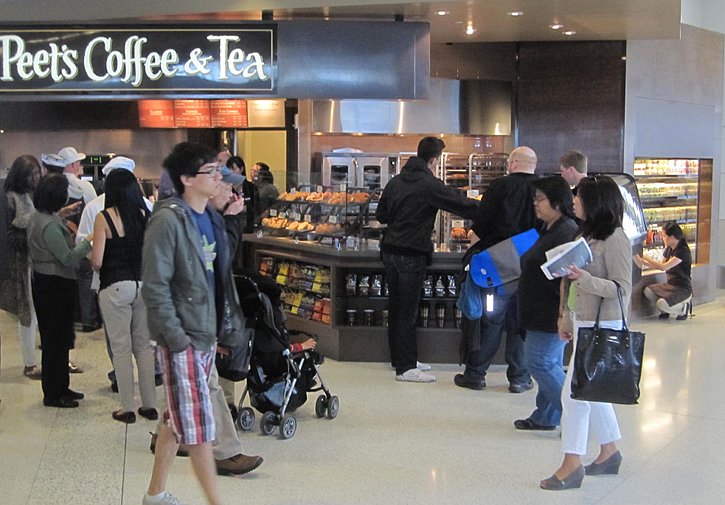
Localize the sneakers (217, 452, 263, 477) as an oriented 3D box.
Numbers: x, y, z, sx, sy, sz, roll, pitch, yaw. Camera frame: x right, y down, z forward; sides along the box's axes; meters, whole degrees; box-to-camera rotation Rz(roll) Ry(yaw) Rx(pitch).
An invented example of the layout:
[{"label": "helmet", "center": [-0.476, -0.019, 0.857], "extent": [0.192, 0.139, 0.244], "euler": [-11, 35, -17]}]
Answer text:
[{"label": "sneakers", "center": [-0.837, 1.443, 3.965], "extent": [0.317, 0.151, 0.125], "euler": [-7, 5, -3]}]

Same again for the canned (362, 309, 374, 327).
[{"label": "canned", "center": [0.063, 0.696, 6.098], "extent": [0.175, 0.254, 0.147], "euler": [0, 0, -1]}]

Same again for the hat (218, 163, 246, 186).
[{"label": "hat", "center": [-0.890, -0.535, 3.894], "extent": [0.287, 0.137, 0.177], "euler": [5, 9, -3]}]

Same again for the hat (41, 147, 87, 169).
[{"label": "hat", "center": [-3.057, -0.972, 5.983], "extent": [0.306, 0.163, 0.494], "euler": [11, 13, 28]}]

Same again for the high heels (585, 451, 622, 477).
[{"label": "high heels", "center": [1.686, 1.438, 3.903], "extent": [0.305, 0.167, 0.119], "euler": [2, -1, -1]}]

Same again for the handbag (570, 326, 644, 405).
[{"label": "handbag", "center": [1.460, 0.686, 3.458], "extent": [0.460, 0.623, 0.243], "euler": [3, -4, 5]}]

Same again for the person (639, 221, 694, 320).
[{"label": "person", "center": [4.355, 0.271, 8.181], "extent": [0.743, 1.398, 0.445], "euler": [2, 9, 9]}]

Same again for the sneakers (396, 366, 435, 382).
[{"label": "sneakers", "center": [0.513, 1.207, 5.643], "extent": [0.384, 0.151, 0.143], "euler": [1, -2, 3]}]

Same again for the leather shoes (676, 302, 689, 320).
[{"label": "leather shoes", "center": [4.528, 0.836, 8.173], "extent": [0.157, 0.215, 0.205], "euler": [-3, -24, 11]}]

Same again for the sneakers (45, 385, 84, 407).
[{"label": "sneakers", "center": [-2.632, 1.262, 5.007], "extent": [0.364, 0.146, 0.117], "euler": [-1, 1, -10]}]

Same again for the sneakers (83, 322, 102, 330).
[{"label": "sneakers", "center": [-2.687, 0.751, 5.731], "extent": [0.106, 0.081, 0.112], "euler": [-1, 1, 7]}]

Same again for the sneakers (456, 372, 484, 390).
[{"label": "sneakers", "center": [1.008, 1.220, 5.473], "extent": [0.256, 0.110, 0.114], "euler": [11, 11, 39]}]

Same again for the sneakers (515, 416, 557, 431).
[{"label": "sneakers", "center": [1.388, 1.387, 4.627], "extent": [0.302, 0.136, 0.121], "euler": [5, 2, 9]}]

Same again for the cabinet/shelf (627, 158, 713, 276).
[{"label": "cabinet/shelf", "center": [4.515, -0.585, 8.519], "extent": [1.940, 1.884, 0.663], "euler": [-1, 0, -30]}]

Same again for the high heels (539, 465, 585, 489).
[{"label": "high heels", "center": [1.304, 1.473, 3.794], "extent": [0.295, 0.162, 0.129], "euler": [2, -5, 4]}]

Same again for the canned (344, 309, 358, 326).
[{"label": "canned", "center": [-0.118, 0.696, 6.087], "extent": [0.148, 0.168, 0.150], "euler": [-1, -2, 31]}]

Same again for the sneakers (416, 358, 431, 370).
[{"label": "sneakers", "center": [0.623, 1.165, 5.941], "extent": [0.091, 0.064, 0.159], "euler": [0, -3, -16]}]
